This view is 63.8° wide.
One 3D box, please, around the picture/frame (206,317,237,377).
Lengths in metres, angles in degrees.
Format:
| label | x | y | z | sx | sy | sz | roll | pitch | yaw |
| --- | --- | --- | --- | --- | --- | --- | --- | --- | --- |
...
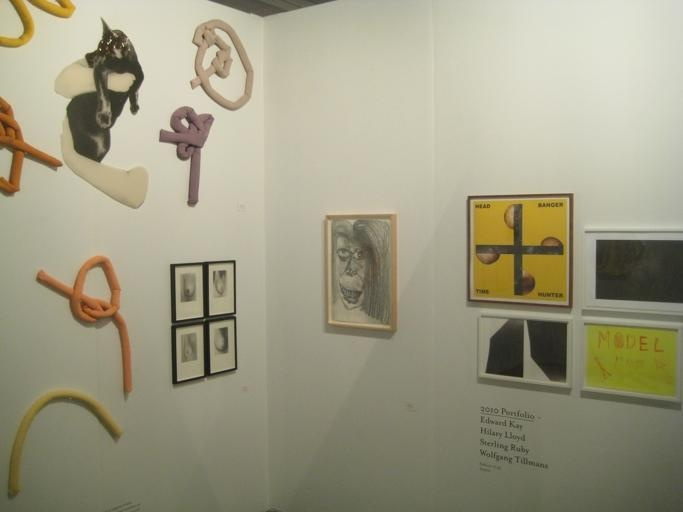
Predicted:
| label | x | y | z | sx | sy | sz | roll | pitch | yaw |
| --- | --- | --- | --- | --- | --- | --- | --- | --- | --- |
| picture/frame | -0.720 | 0.523 | 3.254 | 0.167 | 0.334 | 0.029 | -5 | 12 | -27 |

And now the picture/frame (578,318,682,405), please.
| label | x | y | z | sx | sy | sz | roll | pitch | yaw |
| --- | --- | --- | --- | --- | --- | --- | --- | --- | --- |
| picture/frame | 1.456 | 0.511 | 2.721 | 0.380 | 0.382 | 0.034 | 1 | 2 | 23 |

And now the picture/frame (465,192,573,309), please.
| label | x | y | z | sx | sy | sz | roll | pitch | yaw |
| --- | --- | --- | --- | --- | --- | --- | --- | --- | --- |
| picture/frame | 0.953 | -0.040 | 2.873 | 0.531 | 0.697 | 0.041 | 0 | 0 | 21 |

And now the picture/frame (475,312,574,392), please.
| label | x | y | z | sx | sy | sz | roll | pitch | yaw |
| --- | --- | --- | --- | --- | --- | --- | --- | --- | --- |
| picture/frame | 1.036 | 0.496 | 2.999 | 0.450 | 0.375 | 0.293 | 0 | -14 | 13 |

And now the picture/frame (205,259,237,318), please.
| label | x | y | z | sx | sy | sz | roll | pitch | yaw |
| --- | --- | --- | --- | --- | --- | --- | --- | --- | --- |
| picture/frame | -0.720 | 0.188 | 3.239 | 0.193 | 0.324 | 0.026 | 0 | -2 | -45 |

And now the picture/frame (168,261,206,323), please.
| label | x | y | z | sx | sy | sz | roll | pitch | yaw |
| --- | --- | --- | --- | --- | --- | --- | --- | --- | --- |
| picture/frame | -0.873 | 0.196 | 3.115 | 0.176 | 0.341 | 0.021 | -4 | 17 | -22 |

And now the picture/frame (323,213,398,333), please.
| label | x | y | z | sx | sy | sz | roll | pitch | yaw |
| --- | --- | --- | --- | --- | --- | --- | --- | --- | --- |
| picture/frame | 0.127 | 0.080 | 3.216 | 0.587 | 0.991 | 0.040 | 1 | 3 | 24 |
